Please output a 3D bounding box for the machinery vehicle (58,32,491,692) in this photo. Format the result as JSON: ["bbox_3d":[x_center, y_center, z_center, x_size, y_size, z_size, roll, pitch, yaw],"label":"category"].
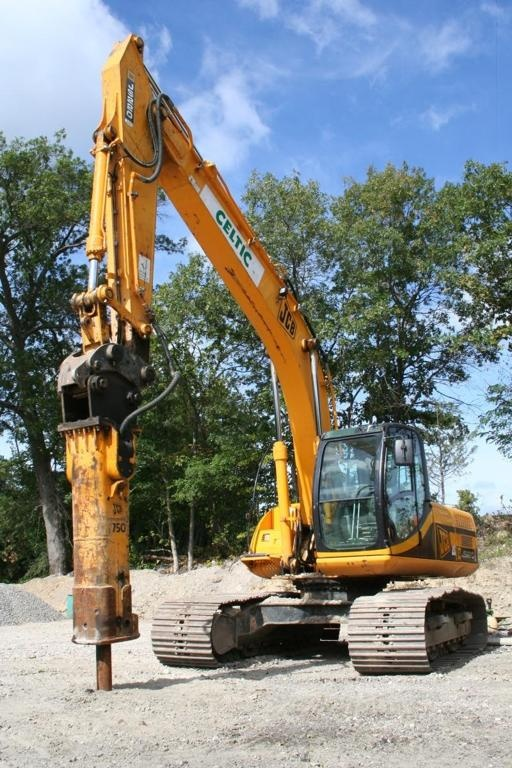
[{"bbox_3d":[0.210,0.439,7.963,3.189,5.177,5.638,-14,-19,34],"label":"machinery vehicle"}]
